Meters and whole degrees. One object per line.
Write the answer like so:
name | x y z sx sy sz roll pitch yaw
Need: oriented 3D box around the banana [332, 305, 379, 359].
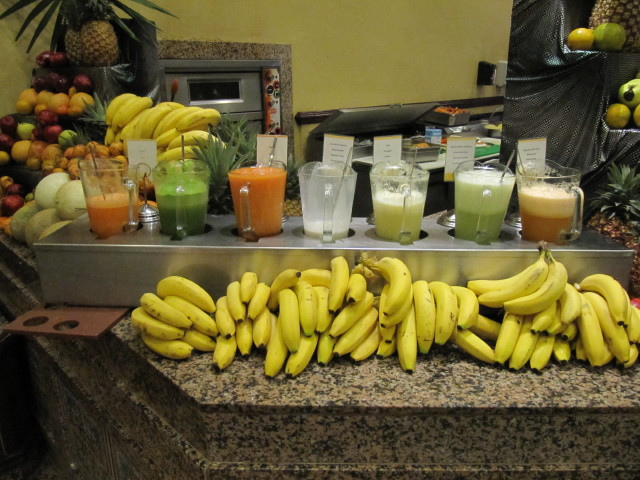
banana | 0.130 0.318 1.627 0.077 0.086 0.262 11 31 30

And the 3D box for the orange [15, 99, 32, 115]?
orange | -1.931 -0.858 3.141 0.123 0.094 0.058 5 15 19

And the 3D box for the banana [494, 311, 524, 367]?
banana | 0.636 0.306 1.646 0.072 0.063 0.230 -7 48 49

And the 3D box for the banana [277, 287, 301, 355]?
banana | -0.101 0.257 1.576 0.061 0.064 0.213 -11 55 -4

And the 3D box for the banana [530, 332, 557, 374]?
banana | 0.740 0.356 1.621 0.048 0.058 0.171 21 58 15

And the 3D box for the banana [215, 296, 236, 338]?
banana | -0.316 0.253 1.613 0.046 0.046 0.140 -22 40 3

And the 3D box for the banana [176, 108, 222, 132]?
banana | -0.588 -0.627 2.498 0.101 0.079 0.334 27 26 18

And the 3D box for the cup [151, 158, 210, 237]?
cup | -0.515 -0.171 1.902 0.201 0.283 0.301 1 28 -4

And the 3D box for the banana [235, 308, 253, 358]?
banana | -0.245 0.312 1.590 0.040 0.138 0.044 -2 -18 -11

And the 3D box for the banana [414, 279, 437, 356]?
banana | 0.334 0.261 1.635 0.062 0.075 0.242 -5 61 3

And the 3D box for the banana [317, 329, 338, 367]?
banana | 0.019 0.354 1.579 0.039 0.043 0.130 23 53 -7

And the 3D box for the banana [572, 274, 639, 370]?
banana | 0.955 0.257 1.674 0.183 0.090 0.332 -21 59 13

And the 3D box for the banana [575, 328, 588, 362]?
banana | 0.858 0.352 1.609 0.025 0.094 0.031 -11 -9 2

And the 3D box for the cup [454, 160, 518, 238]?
cup | 0.635 -0.154 1.864 0.245 0.282 0.190 1 14 4

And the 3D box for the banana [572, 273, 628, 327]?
banana | 0.946 0.187 1.633 0.127 0.057 0.237 -12 23 16

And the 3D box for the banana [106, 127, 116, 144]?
banana | -1.177 -0.578 2.738 0.050 0.097 0.034 23 12 20

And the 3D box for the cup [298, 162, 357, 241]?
cup | 0.032 -0.121 1.831 0.211 0.296 0.311 0 24 -2

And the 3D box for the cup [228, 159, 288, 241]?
cup | -0.239 -0.131 1.859 0.212 0.263 0.305 0 25 2

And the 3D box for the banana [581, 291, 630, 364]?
banana | 0.951 0.289 1.629 0.067 0.074 0.227 2 52 -46

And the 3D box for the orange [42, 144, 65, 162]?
orange | -1.525 -0.496 2.797 0.102 0.093 0.209 -12 19 -40

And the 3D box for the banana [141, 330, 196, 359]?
banana | -0.495 0.353 1.589 0.222 0.061 0.078 7 21 4

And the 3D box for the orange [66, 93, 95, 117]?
orange | -1.458 -0.819 2.955 0.162 0.141 0.155 -5 15 -20

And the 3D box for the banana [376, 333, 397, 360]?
banana | 0.220 0.364 1.605 0.032 0.114 0.040 15 -9 -2

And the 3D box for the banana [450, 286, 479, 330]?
banana | 0.493 0.225 1.625 0.096 0.052 0.192 -5 26 -1

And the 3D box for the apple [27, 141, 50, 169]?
apple | -1.676 -0.502 2.895 0.124 0.154 0.318 -8 16 -29

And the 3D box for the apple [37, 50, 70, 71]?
apple | -1.699 -1.144 3.112 0.284 0.130 0.083 9 17 30

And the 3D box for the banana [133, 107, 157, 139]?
banana | -0.903 -0.598 2.506 0.051 0.193 0.064 30 -5 38

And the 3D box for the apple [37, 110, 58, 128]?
apple | -1.646 -0.730 2.934 0.096 0.103 0.122 -9 17 -33

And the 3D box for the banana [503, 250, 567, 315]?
banana | 0.738 0.147 1.639 0.127 0.058 0.294 34 71 30

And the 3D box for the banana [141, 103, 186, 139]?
banana | -0.810 -0.596 2.488 0.196 0.159 0.061 -38 62 -3

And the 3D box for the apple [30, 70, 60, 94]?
apple | -1.757 -1.007 3.143 0.253 0.120 0.121 -4 9 29

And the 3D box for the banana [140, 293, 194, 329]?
banana | -0.511 0.243 1.620 0.142 0.041 0.046 30 30 9

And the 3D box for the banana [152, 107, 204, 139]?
banana | -0.705 -0.582 2.419 0.280 0.076 0.097 -44 26 -9
